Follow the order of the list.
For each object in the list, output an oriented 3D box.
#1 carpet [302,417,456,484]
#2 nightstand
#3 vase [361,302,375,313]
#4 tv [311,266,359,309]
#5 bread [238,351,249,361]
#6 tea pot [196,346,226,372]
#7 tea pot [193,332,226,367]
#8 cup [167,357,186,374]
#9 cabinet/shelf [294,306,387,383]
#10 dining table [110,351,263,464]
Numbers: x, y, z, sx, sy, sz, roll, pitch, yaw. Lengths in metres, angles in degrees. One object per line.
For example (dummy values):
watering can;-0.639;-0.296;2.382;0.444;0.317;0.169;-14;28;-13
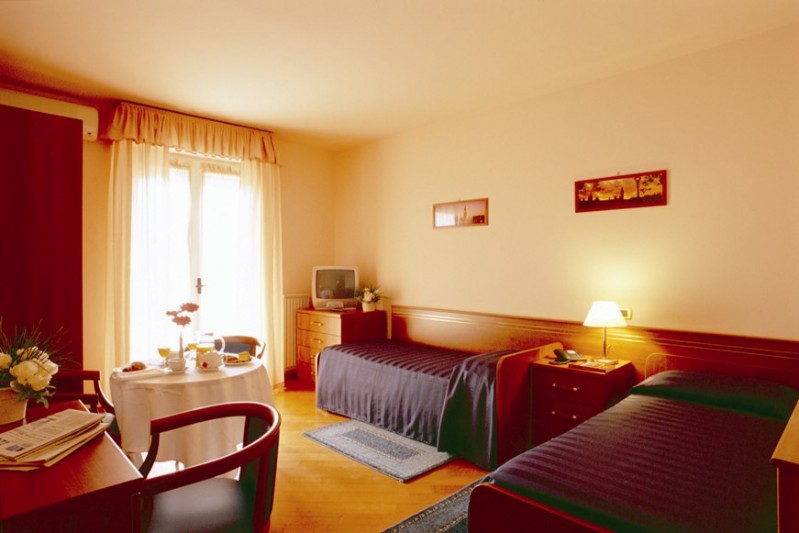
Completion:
carpet;-0.165;1.634;5.037;1.192;0.106;0.628;5;16;40
nightstand;1.552;1.021;5.004;0.751;1.145;0.817;1;1;-42
vase;-0.360;0.491;6.635;0.118;0.084;0.116;0;1;-14
tv;-0.800;0.261;7.019;0.801;0.729;0.453;1;-4;-10
bread;-1.271;0.731;4.546;0.076;0.069;0.064;0;5;-9
tea pot;-1.476;0.721;4.370;0.176;0.124;0.174;-1;3;0
tea pot;-1.544;0.648;4.466;0.316;0.297;0.187;2;-10;-24
cup;-1.703;0.757;4.268;0.119;0.082;0.113;1;0;0
cabinet/shelf;-0.704;0.767;6.907;0.853;1.146;1.260;4;-5;-37
dining table;-1.617;0.999;4.216;0.842;0.594;0.849;-2;-1;30
